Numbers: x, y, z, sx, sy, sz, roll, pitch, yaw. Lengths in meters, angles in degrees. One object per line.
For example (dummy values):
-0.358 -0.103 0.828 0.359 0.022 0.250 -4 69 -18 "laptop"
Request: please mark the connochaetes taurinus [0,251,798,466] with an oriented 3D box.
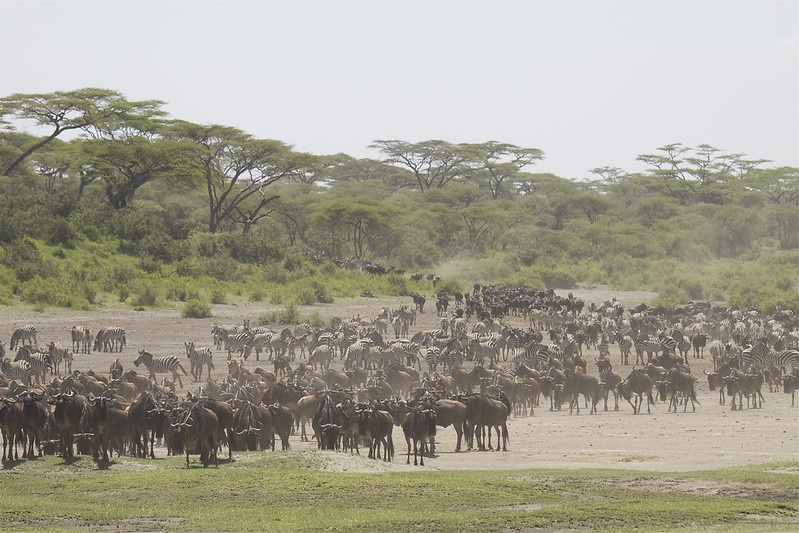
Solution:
3.021 4.770 76.159 38.807 11.629 32.565 0 -10 -12 "connochaetes taurinus"
